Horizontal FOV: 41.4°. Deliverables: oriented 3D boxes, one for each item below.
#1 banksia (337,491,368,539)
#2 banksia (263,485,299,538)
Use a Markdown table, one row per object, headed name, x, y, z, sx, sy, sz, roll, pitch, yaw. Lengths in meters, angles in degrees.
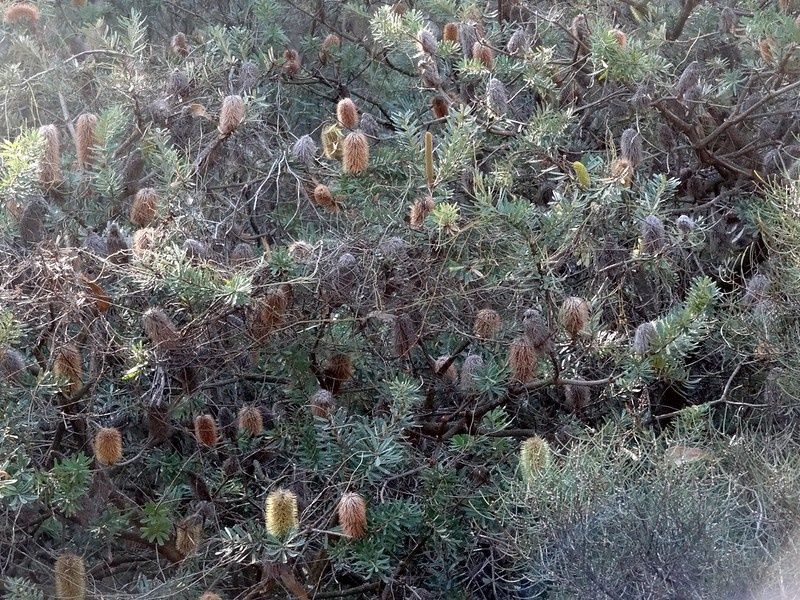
| name | x | y | z | sx | sy | sz | roll | pitch | yaw |
| --- | --- | --- | --- | --- | --- | --- | --- | --- | --- |
| banksia | -0.115 | 0.530 | 2.571 | 0.059 | 0.070 | 0.110 | -6 | 55 | -11 |
| banksia | -0.278 | 0.529 | 2.618 | 0.086 | 0.101 | 0.143 | -5 | 83 | 19 |
